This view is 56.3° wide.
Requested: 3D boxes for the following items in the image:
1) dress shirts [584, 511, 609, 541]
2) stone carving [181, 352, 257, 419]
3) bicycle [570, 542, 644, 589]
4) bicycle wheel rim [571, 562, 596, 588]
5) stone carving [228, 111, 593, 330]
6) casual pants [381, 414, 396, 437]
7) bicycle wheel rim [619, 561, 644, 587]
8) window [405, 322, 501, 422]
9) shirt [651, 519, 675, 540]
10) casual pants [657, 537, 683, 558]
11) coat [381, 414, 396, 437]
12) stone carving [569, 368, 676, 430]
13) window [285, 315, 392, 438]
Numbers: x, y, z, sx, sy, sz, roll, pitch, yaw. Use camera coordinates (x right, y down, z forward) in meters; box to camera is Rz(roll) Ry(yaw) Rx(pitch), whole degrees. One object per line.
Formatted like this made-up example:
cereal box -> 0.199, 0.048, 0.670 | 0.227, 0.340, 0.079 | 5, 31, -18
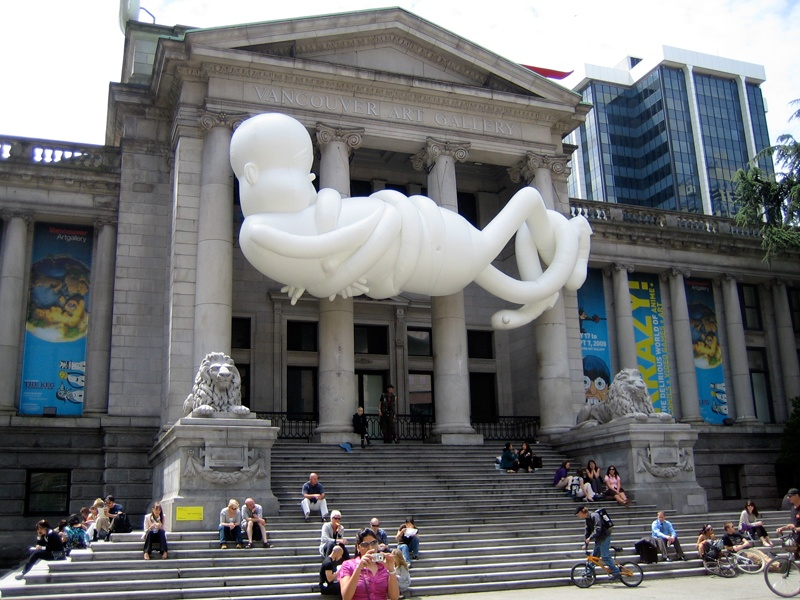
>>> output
dress shirts -> 4.628, 5.340, 17.600 | 0.673, 0.775, 0.640 | 6, -19, 8
stone carving -> -5.110, 2.494, 20.828 | 1.347, 1.495, 2.074 | 6, -24, -23
bicycle -> 4.839, 6.439, 17.724 | 1.899, 1.179, 0.934 | 3, -34, -11
bicycle wheel rim -> 4.303, 6.474, 17.487 | 0.583, 0.592, 0.169 | 7, 0, 23
stone carving -> -0.042, -2.161, 25.962 | 13.819, 7.270, 5.491 | 1, 4, -16
casual pants -> -0.407, 4.739, 27.385 | 0.542, 0.935, 0.388 | 1, -14, -11
bicycle wheel rim -> 5.448, 6.472, 17.687 | 0.498, 0.498, 1.363 | -5, -14, 15
window -> 2.021, 3.114, 30.581 | 4.058, 4.745, 0.352 | 5, -18, -22
shirt -> 6.940, 6.172, 19.814 | 0.449, 0.427, 0.626 | 3, -32, 8
casual pants -> 7.006, 6.486, 19.408 | 0.826, 0.554, 0.267 | 6, -15, -27
coat -> -0.414, 4.740, 27.388 | 0.532, 0.935, 0.402 | 0, -14, -7
stone carving -> 7.501, 3.508, 26.382 | 1.905, 1.558, 3.142 | 7, -21, -31
window -> -2.557, 3.102, 28.875 | 4.613, 5.208, 0.232 | 4, -17, -18
